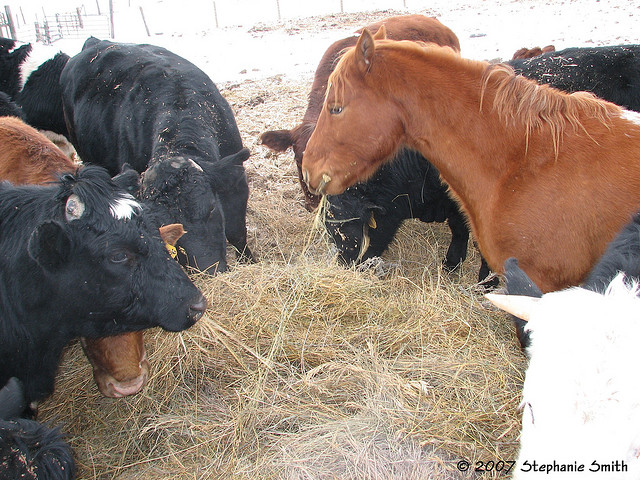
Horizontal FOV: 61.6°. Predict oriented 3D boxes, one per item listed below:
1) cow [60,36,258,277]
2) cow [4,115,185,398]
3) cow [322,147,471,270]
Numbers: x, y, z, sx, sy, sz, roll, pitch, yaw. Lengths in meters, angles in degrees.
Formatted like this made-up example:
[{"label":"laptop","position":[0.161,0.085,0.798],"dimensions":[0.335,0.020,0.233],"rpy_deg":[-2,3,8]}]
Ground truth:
[{"label":"cow","position":[-1.517,-0.959,5.440],"dimensions":[1.186,1.618,3.289],"rpy_deg":[-27,51,-10]},{"label":"cow","position":[-1.456,-0.210,4.031],"dimensions":[0.891,1.305,2.505],"rpy_deg":[-18,49,-15]},{"label":"cow","position":[0.789,-0.283,4.962],"dimensions":[1.798,1.008,0.648],"rpy_deg":[0,0,-13]}]
